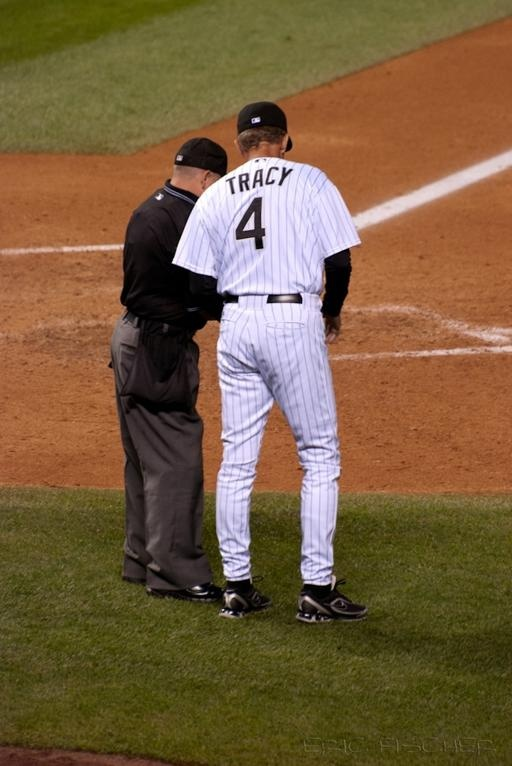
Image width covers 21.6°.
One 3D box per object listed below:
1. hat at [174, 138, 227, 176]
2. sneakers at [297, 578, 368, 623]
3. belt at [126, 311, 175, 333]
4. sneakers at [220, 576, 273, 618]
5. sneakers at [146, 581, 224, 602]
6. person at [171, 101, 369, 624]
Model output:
[{"bbox_3d":[-0.214,-0.928,5.519,0.201,0.117,0.149,-5,30,-47],"label":"hat"},{"bbox_3d":[0.276,0.854,5.271,0.329,0.183,0.116,-1,2,-12],"label":"sneakers"},{"bbox_3d":[-0.450,-0.247,5.477,0.229,0.068,0.086,7,10,33],"label":"belt"},{"bbox_3d":[-0.049,0.834,5.266,0.092,0.150,0.245,7,10,42],"label":"sneakers"},{"bbox_3d":[-0.288,0.846,5.465,0.314,0.118,0.104,0,6,0],"label":"sneakers"},{"bbox_3d":[0.057,0.012,5.247,0.726,1.779,0.467,1,9,-5],"label":"person"}]
